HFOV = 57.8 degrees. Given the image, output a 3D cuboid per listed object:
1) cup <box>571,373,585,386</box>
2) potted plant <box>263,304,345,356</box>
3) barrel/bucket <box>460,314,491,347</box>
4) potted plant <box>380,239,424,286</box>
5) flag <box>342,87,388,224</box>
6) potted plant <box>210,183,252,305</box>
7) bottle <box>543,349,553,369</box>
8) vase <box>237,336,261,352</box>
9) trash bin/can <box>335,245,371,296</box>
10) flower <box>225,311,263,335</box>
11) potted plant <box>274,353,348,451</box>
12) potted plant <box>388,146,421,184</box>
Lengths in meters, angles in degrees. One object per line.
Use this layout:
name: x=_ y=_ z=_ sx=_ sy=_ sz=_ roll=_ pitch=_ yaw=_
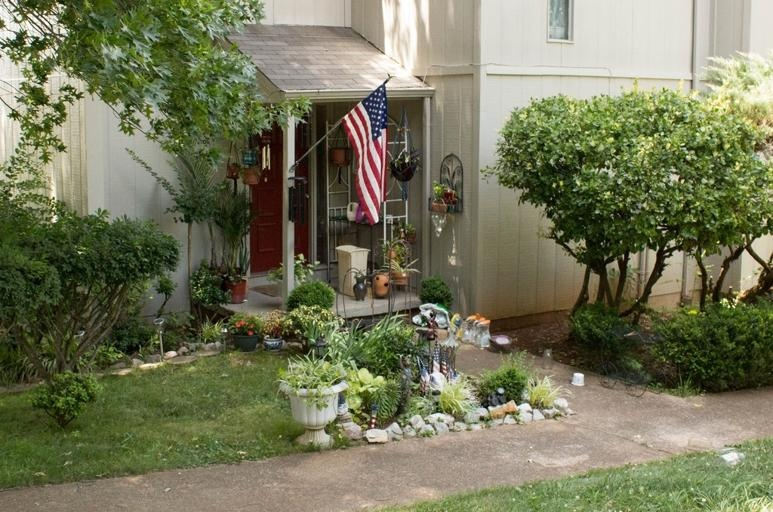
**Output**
cup: x=3.183 y=2.054 z=11.648 sx=0.179 sy=0.137 sz=0.185 roll=1 pitch=0 yaw=0
potted plant: x=-1.536 y=1.211 z=12.236 sx=0.917 sy=0.792 sz=1.045 roll=2 pitch=-3 yaw=-5
barrel/bucket: x=1.692 y=1.423 z=13.373 sx=0.668 sy=0.593 sz=0.215 roll=2 pitch=3 yaw=40
potted plant: x=0.311 y=0.144 z=14.692 sx=0.726 sy=1.013 sz=0.907 roll=-1 pitch=-5 yaw=-12
flag: x=-0.357 y=-1.855 z=12.450 sx=0.771 sy=3.099 sz=0.190 roll=2 pitch=-26 yaw=-5
potted plant: x=-3.156 y=-0.279 z=14.320 sx=0.942 sy=2.427 sz=0.733 roll=-2 pitch=3 yaw=-30
bottle: x=2.830 y=1.813 z=12.294 sx=0.154 sy=0.312 sz=0.230 roll=0 pitch=3 yaw=9
vase: x=-2.510 y=1.581 z=12.746 sx=0.274 sy=0.203 sz=0.300 roll=3 pitch=1 yaw=-8
trash bin/can: x=-0.692 y=0.277 z=14.620 sx=0.574 sy=0.980 sz=0.581 roll=-5 pitch=9 yaw=-40
flower: x=-2.559 y=1.260 z=12.733 sx=0.377 sy=0.291 sz=0.422 roll=5 pitch=0 yaw=16
potted plant: x=-0.986 y=2.011 z=9.637 sx=0.885 sy=1.136 sz=0.877 roll=3 pitch=2 yaw=33
potted plant: x=0.416 y=-1.806 z=14.243 sx=0.610 sy=0.686 sz=0.620 roll=1 pitch=-3 yaw=43
